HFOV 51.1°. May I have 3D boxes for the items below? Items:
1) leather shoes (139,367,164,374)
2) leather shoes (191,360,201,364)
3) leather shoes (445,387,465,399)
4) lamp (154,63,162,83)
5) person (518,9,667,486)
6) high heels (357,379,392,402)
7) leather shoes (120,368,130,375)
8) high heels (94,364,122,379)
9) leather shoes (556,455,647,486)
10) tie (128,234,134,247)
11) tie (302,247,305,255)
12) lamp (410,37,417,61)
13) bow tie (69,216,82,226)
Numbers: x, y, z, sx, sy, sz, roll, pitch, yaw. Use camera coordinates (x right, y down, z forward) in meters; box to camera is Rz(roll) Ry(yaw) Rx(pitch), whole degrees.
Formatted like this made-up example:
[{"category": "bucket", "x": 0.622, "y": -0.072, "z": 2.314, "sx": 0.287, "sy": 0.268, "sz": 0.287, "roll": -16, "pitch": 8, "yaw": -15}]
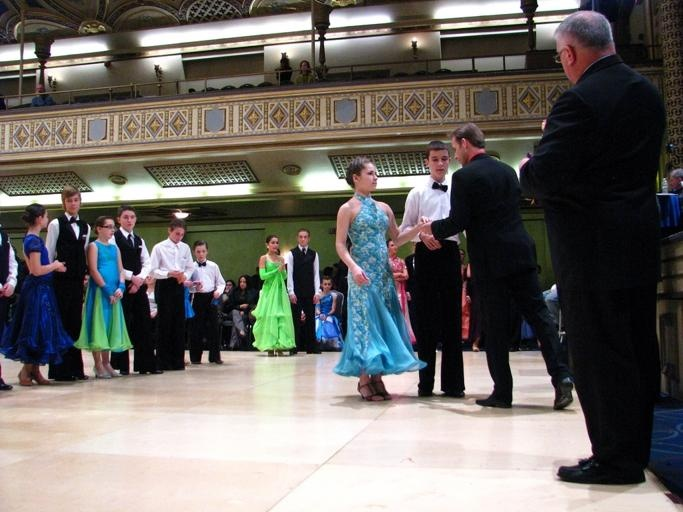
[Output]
[{"category": "leather shoes", "x": -2.087, "y": 1.259, "z": 7.848, "sx": 0.252, "sy": 0.104, "sz": 0.083, "roll": -1, "pitch": -5, "yaw": -9}, {"category": "leather shoes", "x": -1.903, "y": 1.387, "z": 9.348, "sx": 0.130, "sy": 0.053, "sz": 0.044, "roll": 0, "pitch": -5, "yaw": 28}, {"category": "leather shoes", "x": 0.872, "y": 1.061, "z": 5.505, "sx": 0.163, "sy": 0.112, "sz": 0.060, "roll": 0, "pitch": -3, "yaw": 10}, {"category": "lamp", "x": -4.821, "y": -4.808, "z": 18.814, "sx": 0.224, "sy": 0.576, "sz": 0.605, "roll": -3, "pitch": -4, "yaw": -14}, {"category": "person", "x": 1.301, "y": -0.074, "z": 3.574, "sx": 0.715, "sy": 2.376, "sz": 0.243, "roll": -5, "pitch": -4, "yaw": 13}, {"category": "high heels", "x": 0.253, "y": 1.024, "z": 5.495, "sx": 0.243, "sy": 0.157, "sz": 0.257, "roll": -4, "pitch": -4, "yaw": 2}, {"category": "leather shoes", "x": -2.359, "y": 1.259, "z": 7.758, "sx": 0.047, "sy": 0.046, "sz": 0.128, "roll": 2, "pitch": -2, "yaw": -8}, {"category": "high heels", "x": -2.443, "y": 1.195, "z": 7.403, "sx": 0.206, "sy": 0.084, "sz": 0.127, "roll": -14, "pitch": -19, "yaw": 38}, {"category": "leather shoes", "x": 1.317, "y": 1.061, "z": 3.559, "sx": 0.452, "sy": 0.178, "sz": 0.150, "roll": 4, "pitch": -10, "yaw": 6}, {"category": "tie", "x": -2.303, "y": -0.182, "z": 7.827, "sx": 0.037, "sy": 0.111, "sz": 0.081, "roll": -3, "pitch": -7, "yaw": 22}, {"category": "tie", "x": -0.583, "y": -0.079, "z": 11.066, "sx": 0.020, "sy": 0.077, "sz": 0.083, "roll": 1, "pitch": -7, "yaw": 41}, {"category": "lamp", "x": 1.751, "y": -4.953, "z": 17.116, "sx": 0.157, "sy": 0.557, "sz": 0.259, "roll": -4, "pitch": -4, "yaw": 7}, {"category": "bow tie", "x": -2.684, "y": -0.343, "z": 7.160, "sx": 0.058, "sy": 0.051, "sz": 0.146, "roll": -6, "pitch": -5, "yaw": 28}]
